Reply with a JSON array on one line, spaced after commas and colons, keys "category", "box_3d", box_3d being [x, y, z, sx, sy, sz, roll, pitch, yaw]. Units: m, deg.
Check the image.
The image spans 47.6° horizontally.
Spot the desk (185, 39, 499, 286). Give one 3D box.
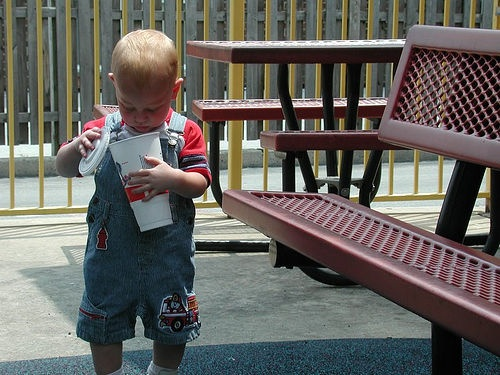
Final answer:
[{"category": "desk", "box_3d": [0.229, -0.462, 3.275, 1.390, 1.165, 1.429, 2, 13, -3]}]
